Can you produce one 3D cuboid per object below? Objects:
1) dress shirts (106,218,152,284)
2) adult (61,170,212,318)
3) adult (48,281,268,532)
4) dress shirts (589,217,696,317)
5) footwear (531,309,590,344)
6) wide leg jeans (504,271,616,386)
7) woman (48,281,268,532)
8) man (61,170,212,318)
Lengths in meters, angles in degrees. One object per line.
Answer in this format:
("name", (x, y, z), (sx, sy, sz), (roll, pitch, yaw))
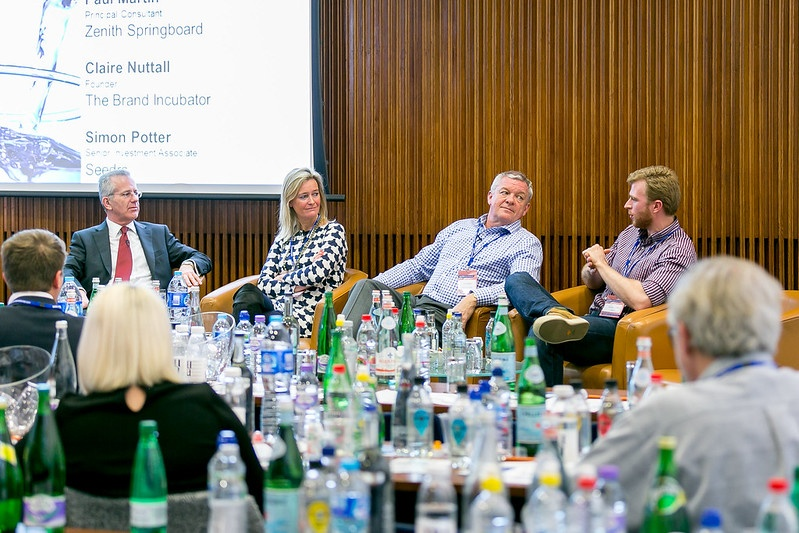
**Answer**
("dress shirts", (-2.011, -0.087, 5.694), (0.327, 0.524, 0.161), (-1, -7, -19))
("adult", (-1.843, -0.202, 5.433), (0.775, 1.273, 0.647), (1, -27, -32))
("adult", (-0.811, 0.495, 2.564), (0.596, 1.000, 0.266), (1, 10, 10))
("dress shirts", (1.587, 0.052, 5.049), (0.371, 0.714, 0.602), (-1, 20, -21))
("footwear", (0.919, 0.353, 4.399), (0.283, 0.187, 0.199), (6, 12, -11))
("wide leg jeans", (0.906, 0.386, 4.728), (0.531, 0.680, 0.619), (7, 7, -32))
("woman", (-0.811, 0.495, 2.564), (0.596, 1.000, 0.266), (1, 10, 10))
("man", (-1.843, -0.202, 5.433), (0.775, 1.273, 0.647), (1, -27, -32))
